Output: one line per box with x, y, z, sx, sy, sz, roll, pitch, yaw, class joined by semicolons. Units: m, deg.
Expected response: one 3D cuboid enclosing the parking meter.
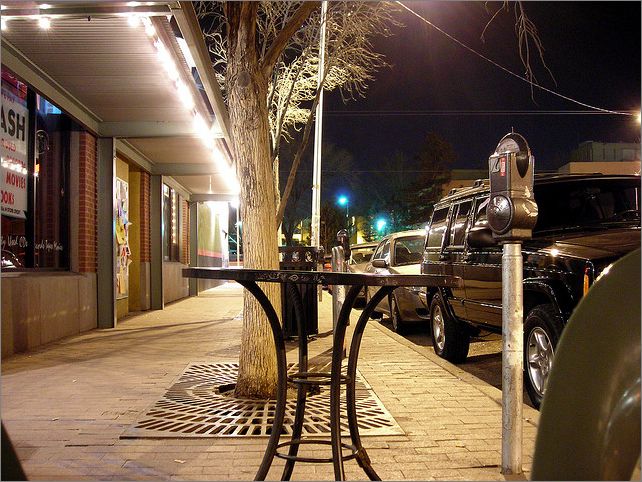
1.369;0.403;3.728;0.342;2.492;0.452;-2;-3;43;parking meter
